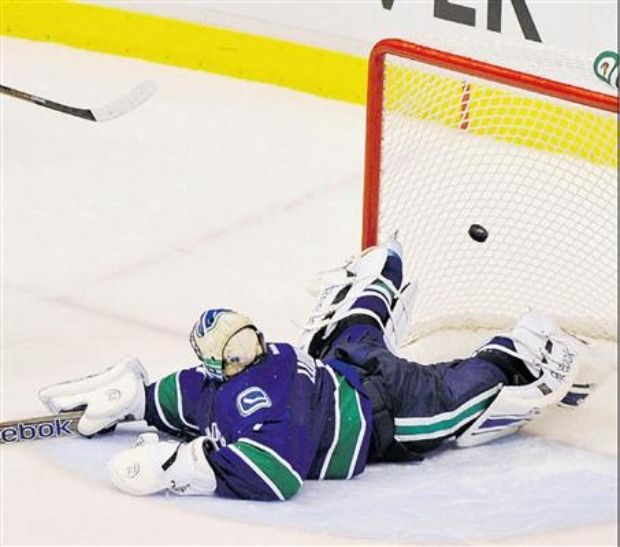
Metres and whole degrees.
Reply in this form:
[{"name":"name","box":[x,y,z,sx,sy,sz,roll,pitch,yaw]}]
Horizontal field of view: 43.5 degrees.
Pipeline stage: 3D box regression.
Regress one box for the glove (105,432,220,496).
[{"name":"glove","box":[-0.385,0.498,2.002,0.223,0.159,0.104,1,-39,-8]}]

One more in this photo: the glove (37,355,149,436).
[{"name":"glove","box":[-0.654,0.412,2.367,0.266,0.222,0.108,-22,-37,-14]}]

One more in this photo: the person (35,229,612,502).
[{"name":"person","box":[0.083,0.343,2.320,1.015,0.415,0.807,-21,19,-21]}]

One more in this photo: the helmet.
[{"name":"helmet","box":[-0.238,0.192,2.235,0.153,0.204,0.171,-35,-36,-19]}]
